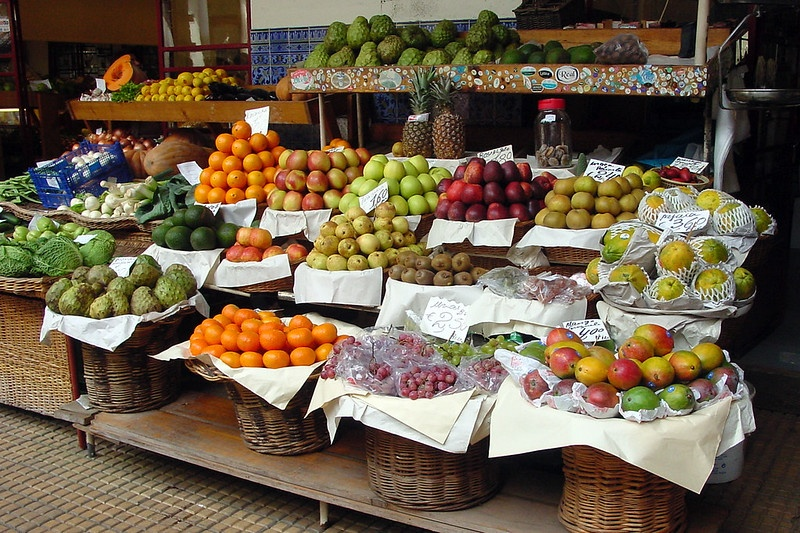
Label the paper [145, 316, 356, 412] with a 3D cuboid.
[{"bbox_3d":[-0.835,0.544,3.207,0.653,0.143,0.683,16,21,34],"label":"paper"}]

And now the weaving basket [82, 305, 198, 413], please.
[{"bbox_3d":[-1.595,0.539,3.817,0.662,0.505,0.671,-1,9,3],"label":"weaving basket"}]

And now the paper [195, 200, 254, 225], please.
[{"bbox_3d":[-1.146,-0.379,4.124,0.274,0.111,0.222,6,13,42],"label":"paper"}]

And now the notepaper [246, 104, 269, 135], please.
[{"bbox_3d":[-1.042,-1.096,4.546,0.244,0.231,0.065,-4,-12,41],"label":"notepaper"}]

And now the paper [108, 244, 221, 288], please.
[{"bbox_3d":[-1.395,-0.041,3.943,0.396,0.180,0.395,4,16,15],"label":"paper"}]

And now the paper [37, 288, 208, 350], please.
[{"bbox_3d":[-1.762,0.350,3.497,0.471,0.144,0.478,3,6,36],"label":"paper"}]

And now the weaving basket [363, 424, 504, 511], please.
[{"bbox_3d":[0.162,0.989,2.829,0.451,0.326,0.444,-2,2,-35],"label":"weaving basket"}]

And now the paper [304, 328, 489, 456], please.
[{"bbox_3d":[0.016,0.596,2.883,0.884,0.385,0.414,4,20,19],"label":"paper"}]

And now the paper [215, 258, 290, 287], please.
[{"bbox_3d":[-0.930,0.041,3.769,0.326,0.108,0.238,-3,7,-6],"label":"paper"}]
